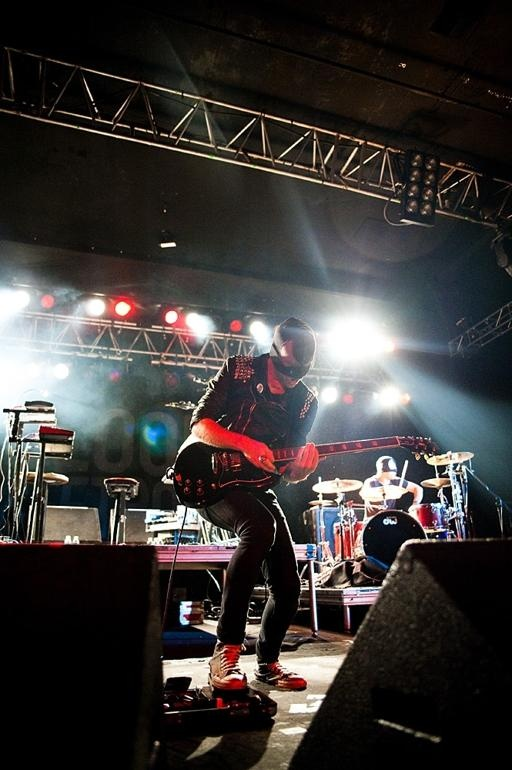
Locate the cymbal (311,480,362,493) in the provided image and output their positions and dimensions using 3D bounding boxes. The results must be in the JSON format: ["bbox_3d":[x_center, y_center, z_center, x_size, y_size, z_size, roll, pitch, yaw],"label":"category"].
[{"bbox_3d":[0.989,1.279,7.442,0.497,0.096,0.498,-13,-20,35],"label":"cymbal"}]

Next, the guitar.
[{"bbox_3d":[0.211,0.395,2.854,0.344,0.352,1.420,-4,-9,38],"label":"guitar"}]

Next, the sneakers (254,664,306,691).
[{"bbox_3d":[0.081,1.120,2.279,0.199,0.081,0.075,-18,-39,33],"label":"sneakers"}]

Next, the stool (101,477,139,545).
[{"bbox_3d":[-1.528,1.403,6.713,0.306,0.755,2.010,4,-7,-12],"label":"stool"}]

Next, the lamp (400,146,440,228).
[{"bbox_3d":[1.636,-2.017,5.813,0.335,0.494,0.098,6,-8,2],"label":"lamp"}]

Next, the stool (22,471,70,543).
[{"bbox_3d":[-2.415,1.380,6.750,0.678,0.713,0.654,-8,-18,-6],"label":"stool"}]

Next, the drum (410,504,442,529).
[{"bbox_3d":[1.809,1.403,6.327,0.375,0.260,0.354,-1,-21,0],"label":"drum"}]

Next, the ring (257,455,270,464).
[{"bbox_3d":[0.036,0.298,2.375,0.032,0.013,0.043,29,-11,-10],"label":"ring"}]

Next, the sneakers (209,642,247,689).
[{"bbox_3d":[-0.098,0.979,2.042,0.121,0.165,0.230,3,-7,-4],"label":"sneakers"}]
